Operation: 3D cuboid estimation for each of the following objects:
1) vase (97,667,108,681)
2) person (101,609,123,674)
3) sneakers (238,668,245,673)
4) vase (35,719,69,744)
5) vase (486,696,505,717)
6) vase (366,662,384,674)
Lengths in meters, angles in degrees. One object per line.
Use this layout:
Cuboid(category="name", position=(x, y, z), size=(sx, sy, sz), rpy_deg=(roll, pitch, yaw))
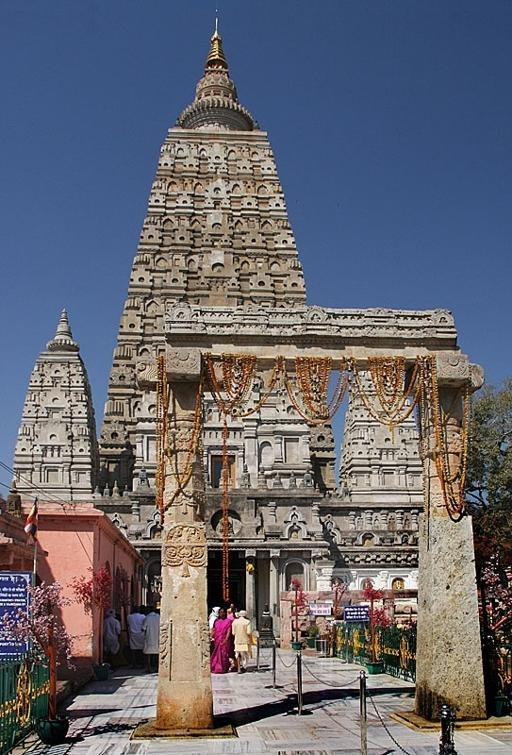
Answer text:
Cuboid(category="vase", position=(-3.013, 5.803, 22.174), size=(0.223, 0.309, 0.576), rpy_deg=(-1, -14, -9))
Cuboid(category="person", position=(-3.277, 5.976, 25.741), size=(0.360, 1.286, 1.442), rpy_deg=(-2, -14, -6))
Cuboid(category="sneakers", position=(-0.284, 6.002, 23.058), size=(0.082, 0.093, 0.121), rpy_deg=(-5, -25, 14))
Cuboid(category="vase", position=(-2.615, 4.554, 14.452), size=(0.316, 0.240, 0.324), rpy_deg=(12, -30, -28))
Cuboid(category="vase", position=(3.480, 4.764, 16.299), size=(0.261, 0.289, 0.246), rpy_deg=(1, -21, 0))
Cuboid(category="vase", position=(2.364, 5.695, 22.098), size=(0.336, 0.238, 0.311), rpy_deg=(-4, -14, 4))
